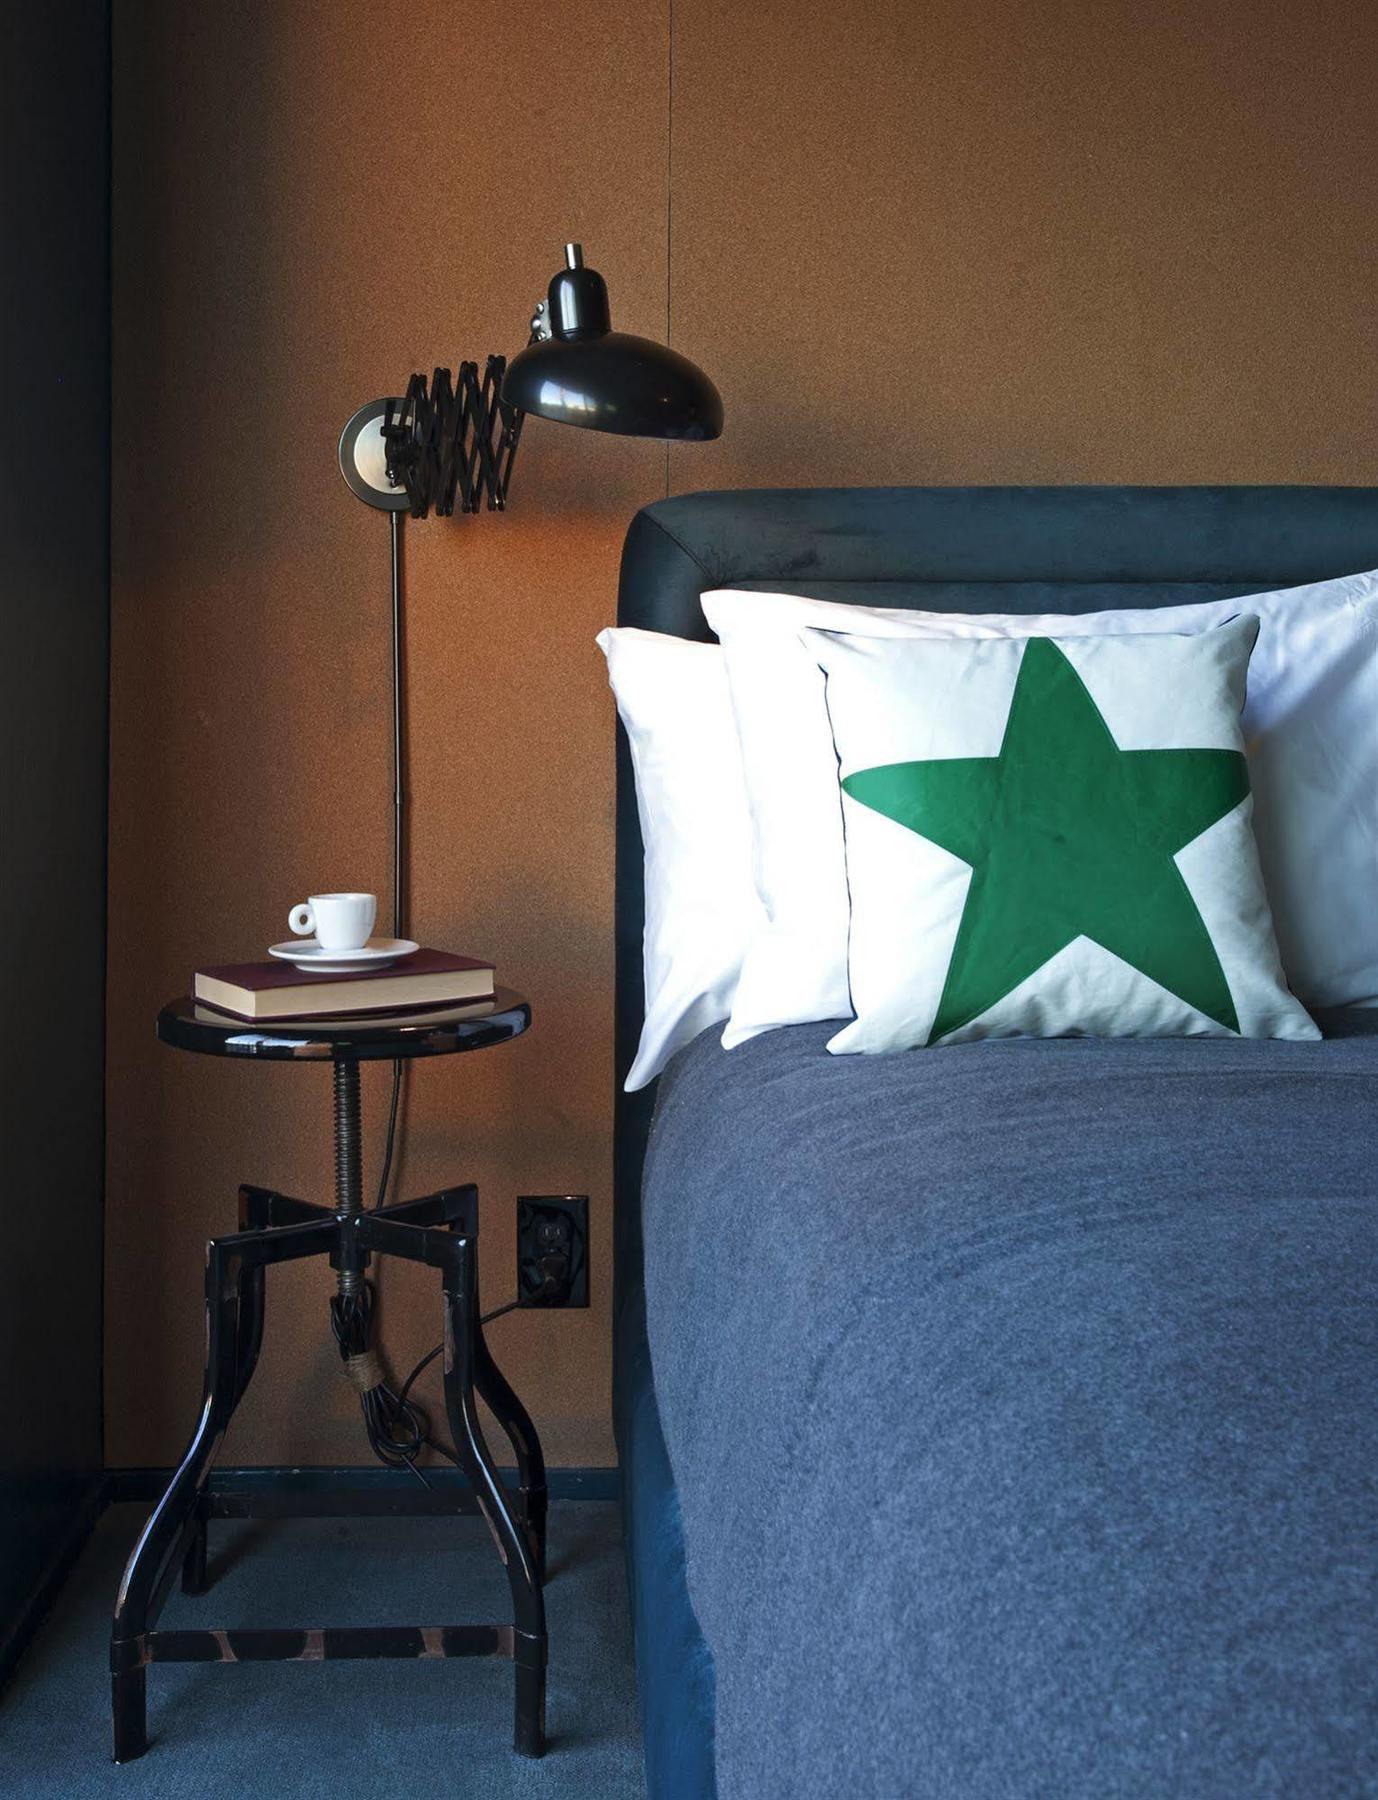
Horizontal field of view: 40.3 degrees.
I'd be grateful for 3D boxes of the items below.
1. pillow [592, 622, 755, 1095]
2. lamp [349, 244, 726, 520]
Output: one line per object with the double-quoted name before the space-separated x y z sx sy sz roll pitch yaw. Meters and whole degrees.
"pillow" 0.004 -0.066 1.844 0.100 0.358 0.363 -3 -6 9
"lamp" -0.166 -0.500 1.833 0.437 0.260 0.190 10 28 40
